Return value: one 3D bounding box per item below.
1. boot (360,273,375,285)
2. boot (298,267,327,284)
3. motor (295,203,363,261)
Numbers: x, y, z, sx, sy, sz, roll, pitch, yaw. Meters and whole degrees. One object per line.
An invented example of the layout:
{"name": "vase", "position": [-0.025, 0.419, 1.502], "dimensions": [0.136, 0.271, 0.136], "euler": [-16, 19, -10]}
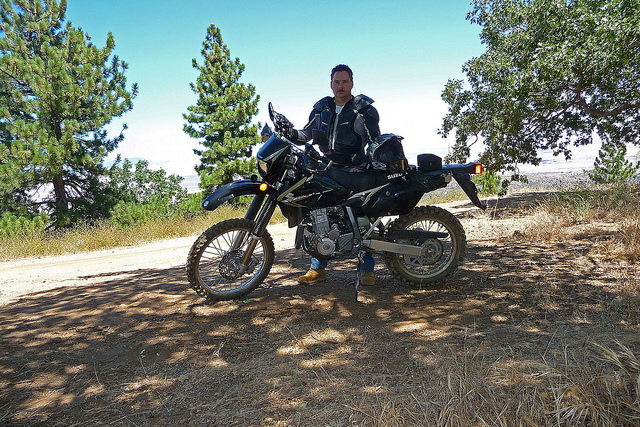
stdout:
{"name": "boot", "position": [0.789, 1.096, 6.989], "dimensions": [0.125, 0.241, 0.249], "euler": [2, 23, -2]}
{"name": "boot", "position": [-0.152, 1.074, 7.126], "dimensions": [0.485, 0.211, 0.205], "euler": [-1, 5, -23]}
{"name": "motor", "position": [0.143, 0.312, 6.397], "dimensions": [1.371, 0.812, 0.559], "euler": [-3, 1, -10]}
